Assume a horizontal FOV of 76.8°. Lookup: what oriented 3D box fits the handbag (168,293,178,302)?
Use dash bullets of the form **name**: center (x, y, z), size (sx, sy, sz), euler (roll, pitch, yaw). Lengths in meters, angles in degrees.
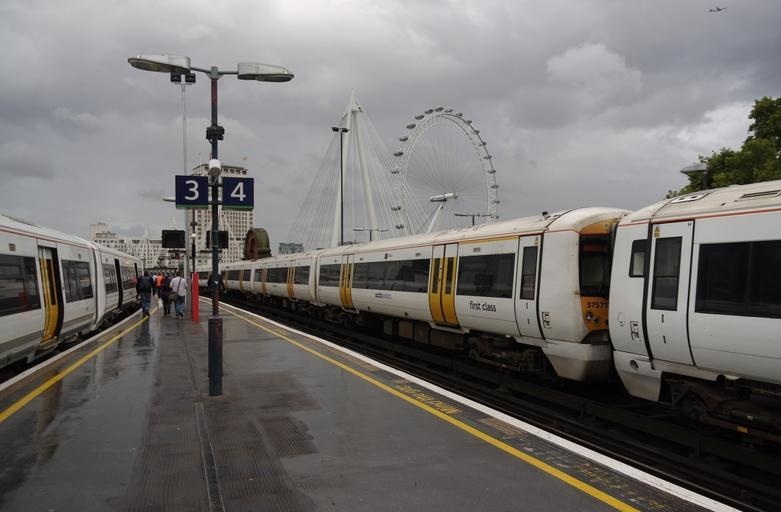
- **handbag**: center (-10.375, 1.955, 23.507), size (0.293, 0.469, 0.505), euler (0, -1, 25)
